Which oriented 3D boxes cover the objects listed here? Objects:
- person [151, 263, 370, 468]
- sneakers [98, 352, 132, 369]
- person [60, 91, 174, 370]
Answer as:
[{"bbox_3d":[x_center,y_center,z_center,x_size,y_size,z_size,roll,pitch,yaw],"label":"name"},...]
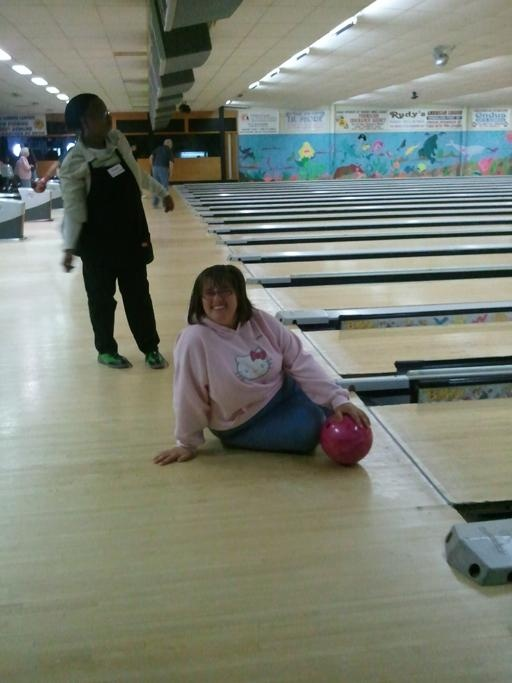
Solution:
[{"bbox_3d":[-0.018,0.101,1.741,0.651,0.548,0.774,13,27,33],"label":"person"},{"bbox_3d":[-0.732,0.092,2.603,0.154,0.057,0.079,2,11,12],"label":"sneakers"},{"bbox_3d":[-0.705,-0.495,2.448,0.501,1.289,0.367,-7,13,-24],"label":"person"}]
